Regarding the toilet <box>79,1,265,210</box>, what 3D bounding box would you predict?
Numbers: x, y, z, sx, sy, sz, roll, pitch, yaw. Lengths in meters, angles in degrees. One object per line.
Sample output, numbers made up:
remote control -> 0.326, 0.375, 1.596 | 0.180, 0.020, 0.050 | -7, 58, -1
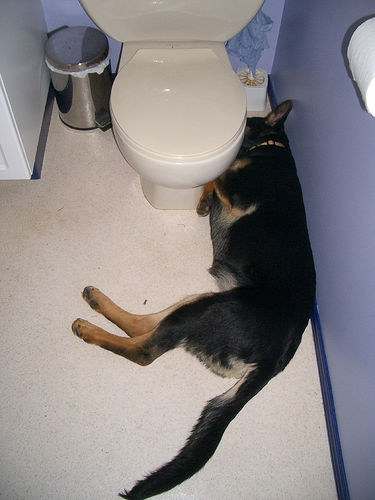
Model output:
toilet -> -0.019, -0.436, 1.262 | 0.374, 0.575, 0.567 | -1, 66, -2

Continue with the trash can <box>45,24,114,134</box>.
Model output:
trash can -> -0.385, -0.616, 1.565 | 0.291, 0.288, 0.202 | 34, 62, 12
